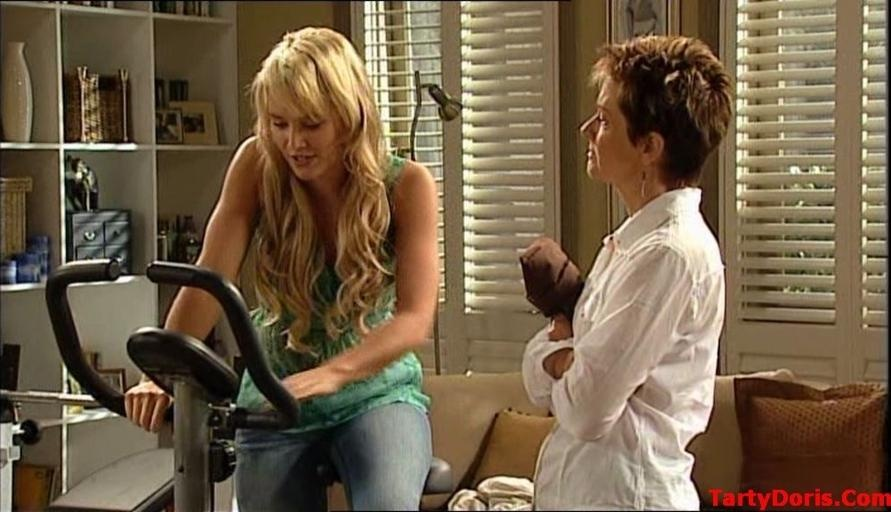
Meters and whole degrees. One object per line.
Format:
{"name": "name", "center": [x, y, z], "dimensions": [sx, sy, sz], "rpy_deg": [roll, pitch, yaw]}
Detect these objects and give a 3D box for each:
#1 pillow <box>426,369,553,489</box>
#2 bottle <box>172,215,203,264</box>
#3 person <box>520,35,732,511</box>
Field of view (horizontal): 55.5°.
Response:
{"name": "pillow", "center": [0.097, 0.592, 3.166], "dimensions": [0.369, 0.433, 0.126], "rpy_deg": [-10, 4, 21]}
{"name": "bottle", "center": [-1.128, -0.068, 3.616], "dimensions": [0.130, 0.230, 0.129], "rpy_deg": [2, 0, 0]}
{"name": "person", "center": [0.464, 0.055, 2.181], "dimensions": [0.536, 1.248, 0.313], "rpy_deg": [-1, 4, 5]}
